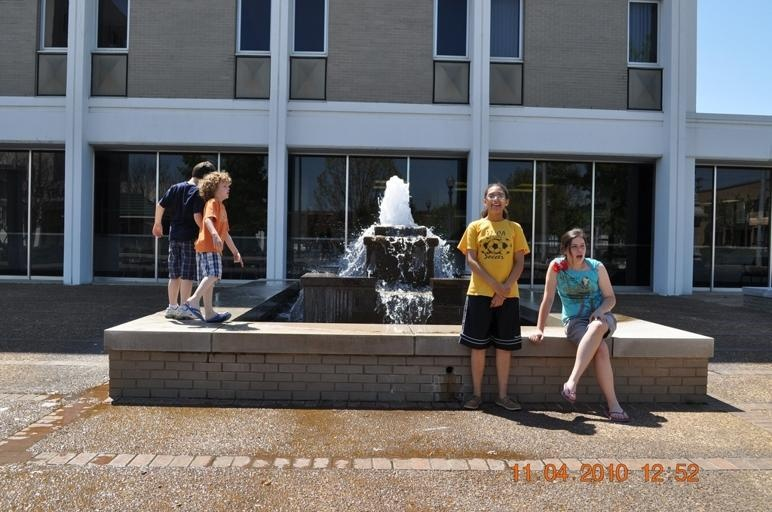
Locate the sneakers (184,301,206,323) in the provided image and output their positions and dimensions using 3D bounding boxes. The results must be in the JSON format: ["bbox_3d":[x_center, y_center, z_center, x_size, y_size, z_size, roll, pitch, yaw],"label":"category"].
[{"bbox_3d":[-3.042,0.887,11.847,0.455,0.215,0.184,23,3,-22],"label":"sneakers"}]

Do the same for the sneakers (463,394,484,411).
[{"bbox_3d":[1.304,2.199,11.280,0.138,0.141,0.349,-4,-10,37],"label":"sneakers"}]

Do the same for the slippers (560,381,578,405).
[{"bbox_3d":[2.654,2.013,11.161,0.211,0.122,0.403,30,-1,-8],"label":"slippers"}]

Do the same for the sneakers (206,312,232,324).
[{"bbox_3d":[-2.629,0.975,11.823,0.297,0.094,0.158,-12,4,2],"label":"sneakers"}]

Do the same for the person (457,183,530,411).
[{"bbox_3d":[1.602,0.610,11.289,0.940,3.347,0.482,1,4,9],"label":"person"}]

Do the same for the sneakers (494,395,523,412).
[{"bbox_3d":[1.839,2.208,11.302,0.393,0.163,0.167,3,6,26],"label":"sneakers"}]

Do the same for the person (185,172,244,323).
[{"bbox_3d":[-2.767,-0.151,11.868,0.872,2.352,0.667,-1,5,-12],"label":"person"}]

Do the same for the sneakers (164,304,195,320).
[{"bbox_3d":[-3.252,0.885,11.880,0.206,0.203,0.417,4,4,25],"label":"sneakers"}]

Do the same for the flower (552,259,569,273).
[{"bbox_3d":[2.629,0.150,11.356,0.184,0.189,0.080,39,5,9],"label":"flower"}]
